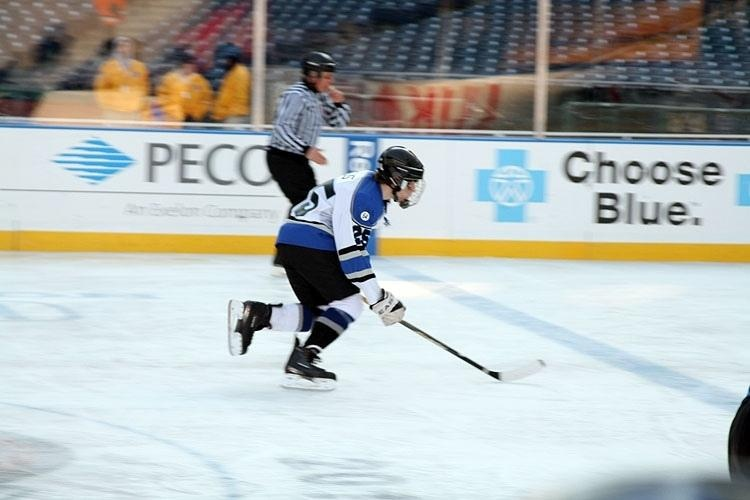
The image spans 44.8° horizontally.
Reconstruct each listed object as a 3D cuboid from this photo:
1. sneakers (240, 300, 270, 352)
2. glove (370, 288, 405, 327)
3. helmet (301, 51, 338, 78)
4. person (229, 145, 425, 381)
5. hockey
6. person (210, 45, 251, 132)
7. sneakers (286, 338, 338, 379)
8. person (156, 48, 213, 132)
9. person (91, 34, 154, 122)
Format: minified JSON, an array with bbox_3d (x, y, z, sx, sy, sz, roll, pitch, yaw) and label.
[{"bbox_3d":[-0.677,0.447,5.359,0.231,0.279,0.129,7,2,-4],"label":"sneakers"},{"bbox_3d":[0.068,0.333,5.322,0.191,0.236,0.184,3,8,-1],"label":"glove"},{"bbox_3d":[-0.466,-1.510,7.484,0.439,0.185,0.245,2,18,8],"label":"helmet"},{"bbox_3d":[-0.301,0.082,5.348,1.079,1.372,0.390,3,9,1],"label":"person"},{"bbox_3d":[0.559,0.590,5.762,0.178,0.202,1.359,30,-3,-34],"label":"hockey"},{"bbox_3d":[-1.483,-1.744,9.565,0.382,0.814,0.230,4,9,-1],"label":"person"},{"bbox_3d":[-0.372,0.636,5.290,0.271,0.228,0.121,5,8,21],"label":"sneakers"},{"bbox_3d":[-1.996,-1.707,9.561,0.544,0.712,0.242,2,9,-10],"label":"person"},{"bbox_3d":[-2.634,-1.792,9.501,0.533,0.854,0.269,1,9,-14],"label":"person"}]
